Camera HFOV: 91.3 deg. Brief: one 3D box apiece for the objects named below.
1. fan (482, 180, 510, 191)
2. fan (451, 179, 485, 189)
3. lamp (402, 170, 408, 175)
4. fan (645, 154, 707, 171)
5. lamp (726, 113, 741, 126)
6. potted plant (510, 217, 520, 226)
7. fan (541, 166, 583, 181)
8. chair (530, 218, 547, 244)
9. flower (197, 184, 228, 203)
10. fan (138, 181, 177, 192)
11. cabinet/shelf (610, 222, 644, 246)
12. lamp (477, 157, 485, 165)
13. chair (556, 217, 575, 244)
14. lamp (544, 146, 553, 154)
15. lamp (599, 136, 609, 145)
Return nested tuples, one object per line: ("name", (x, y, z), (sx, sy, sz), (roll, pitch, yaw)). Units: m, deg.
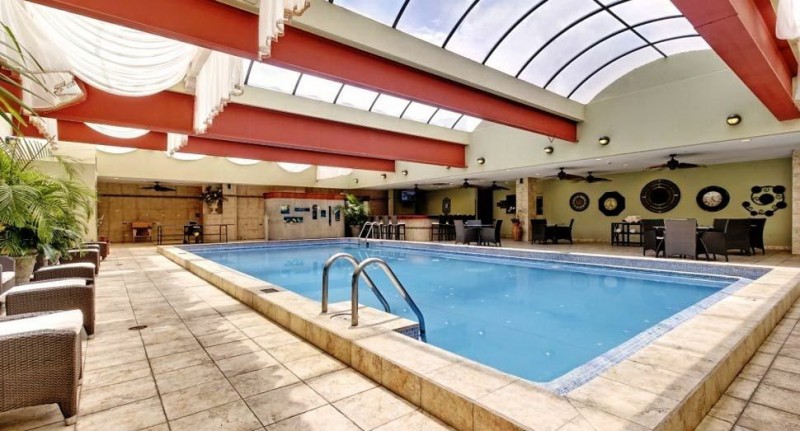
("fan", (4.650, -1.422, 18.984), (0.785, 0.253, 0.791), (-3, 2, -43))
("fan", (3.472, -1.487, 19.715), (1.560, 0.307, 4.986), (-2, -2, 11))
("lamp", (0.227, -1.988, 17.905), (0.093, 0.249, 0.330), (-1, -2, -44))
("fan", (8.464, -1.536, 11.664), (1.175, 0.271, 1.087), (0, -1, 0))
("lamp", (8.586, -2.476, 10.047), (0.296, 0.335, 0.180), (-3, -1, 37))
("potted plant", (4.838, 0.260, 16.445), (0.341, 0.227, 0.318), (0, -5, 0))
("fan", (6.261, -1.517, 14.752), (0.852, 0.418, 2.530), (-2, -2, 17))
("chair", (5.518, 0.639, 15.573), (0.541, 0.813, 1.182), (-2, -2, 16))
("flower", (-8.724, -1.006, 18.048), (1.134, 0.385, 1.059), (2, -3, 6))
("fan", (-10.979, -1.324, 17.687), (1.378, 0.428, 1.576), (-1, -2, -25))
("cabinet/shelf", (8.861, 0.727, 15.201), (1.012, 0.782, 0.323), (1, 4, 27))
("lamp", (3.083, -2.078, 14.900), (0.291, 0.201, 0.283), (-2, -3, 6))
("chair", (7.072, 0.624, 16.626), (0.653, 0.898, 2.656), (-2, -2, 24))
("lamp", (4.966, -2.191, 13.075), (0.164, 0.239, 0.306), (-1, -1, -25))
("lamp", (6.182, -2.280, 11.829), (0.187, 0.259, 0.261), (-1, -2, -40))
